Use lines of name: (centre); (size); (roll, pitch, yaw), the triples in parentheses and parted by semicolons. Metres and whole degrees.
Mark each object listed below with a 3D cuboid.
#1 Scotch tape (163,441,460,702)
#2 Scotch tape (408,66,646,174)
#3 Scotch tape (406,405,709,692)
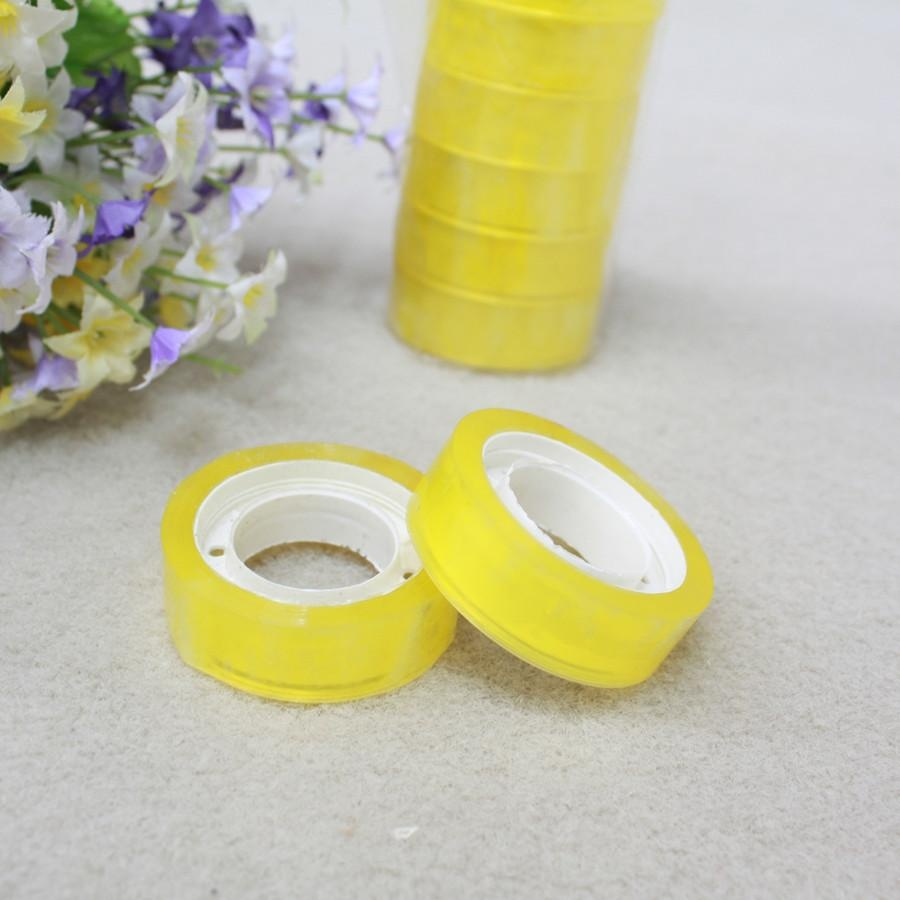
Scotch tape: (-0.106, 0.081, 0.832); (0.210, 0.087, 0.215); (13, 35, 19)
Scotch tape: (0.063, -0.333, 1.138); (0.257, 0.072, 0.259); (-8, 23, -42)
Scotch tape: (0.082, 0.070, 0.833); (0.209, 0.086, 0.215); (14, 30, -34)
